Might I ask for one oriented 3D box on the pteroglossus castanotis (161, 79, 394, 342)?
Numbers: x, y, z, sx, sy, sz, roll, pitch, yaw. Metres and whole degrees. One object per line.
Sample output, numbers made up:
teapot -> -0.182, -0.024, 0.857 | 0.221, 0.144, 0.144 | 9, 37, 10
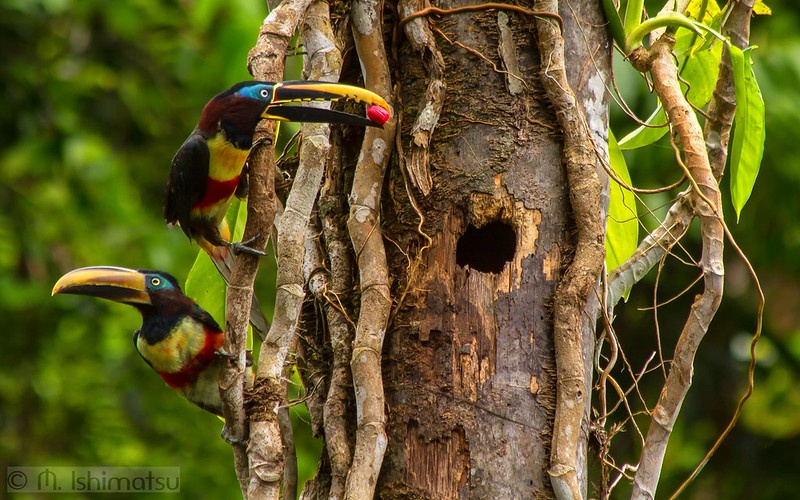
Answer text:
pteroglossus castanotis -> -0.820, -0.451, 7.029 | 1.423, 1.177, 0.630 | -9, 30, 12

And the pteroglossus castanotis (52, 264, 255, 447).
pteroglossus castanotis -> -1.382, 0.561, 7.255 | 1.337, 0.669, 0.417 | 20, 3, -28

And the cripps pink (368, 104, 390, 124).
cripps pink -> -0.116, -0.733, 6.758 | 0.107, 0.091, 0.084 | 29, -22, -3
